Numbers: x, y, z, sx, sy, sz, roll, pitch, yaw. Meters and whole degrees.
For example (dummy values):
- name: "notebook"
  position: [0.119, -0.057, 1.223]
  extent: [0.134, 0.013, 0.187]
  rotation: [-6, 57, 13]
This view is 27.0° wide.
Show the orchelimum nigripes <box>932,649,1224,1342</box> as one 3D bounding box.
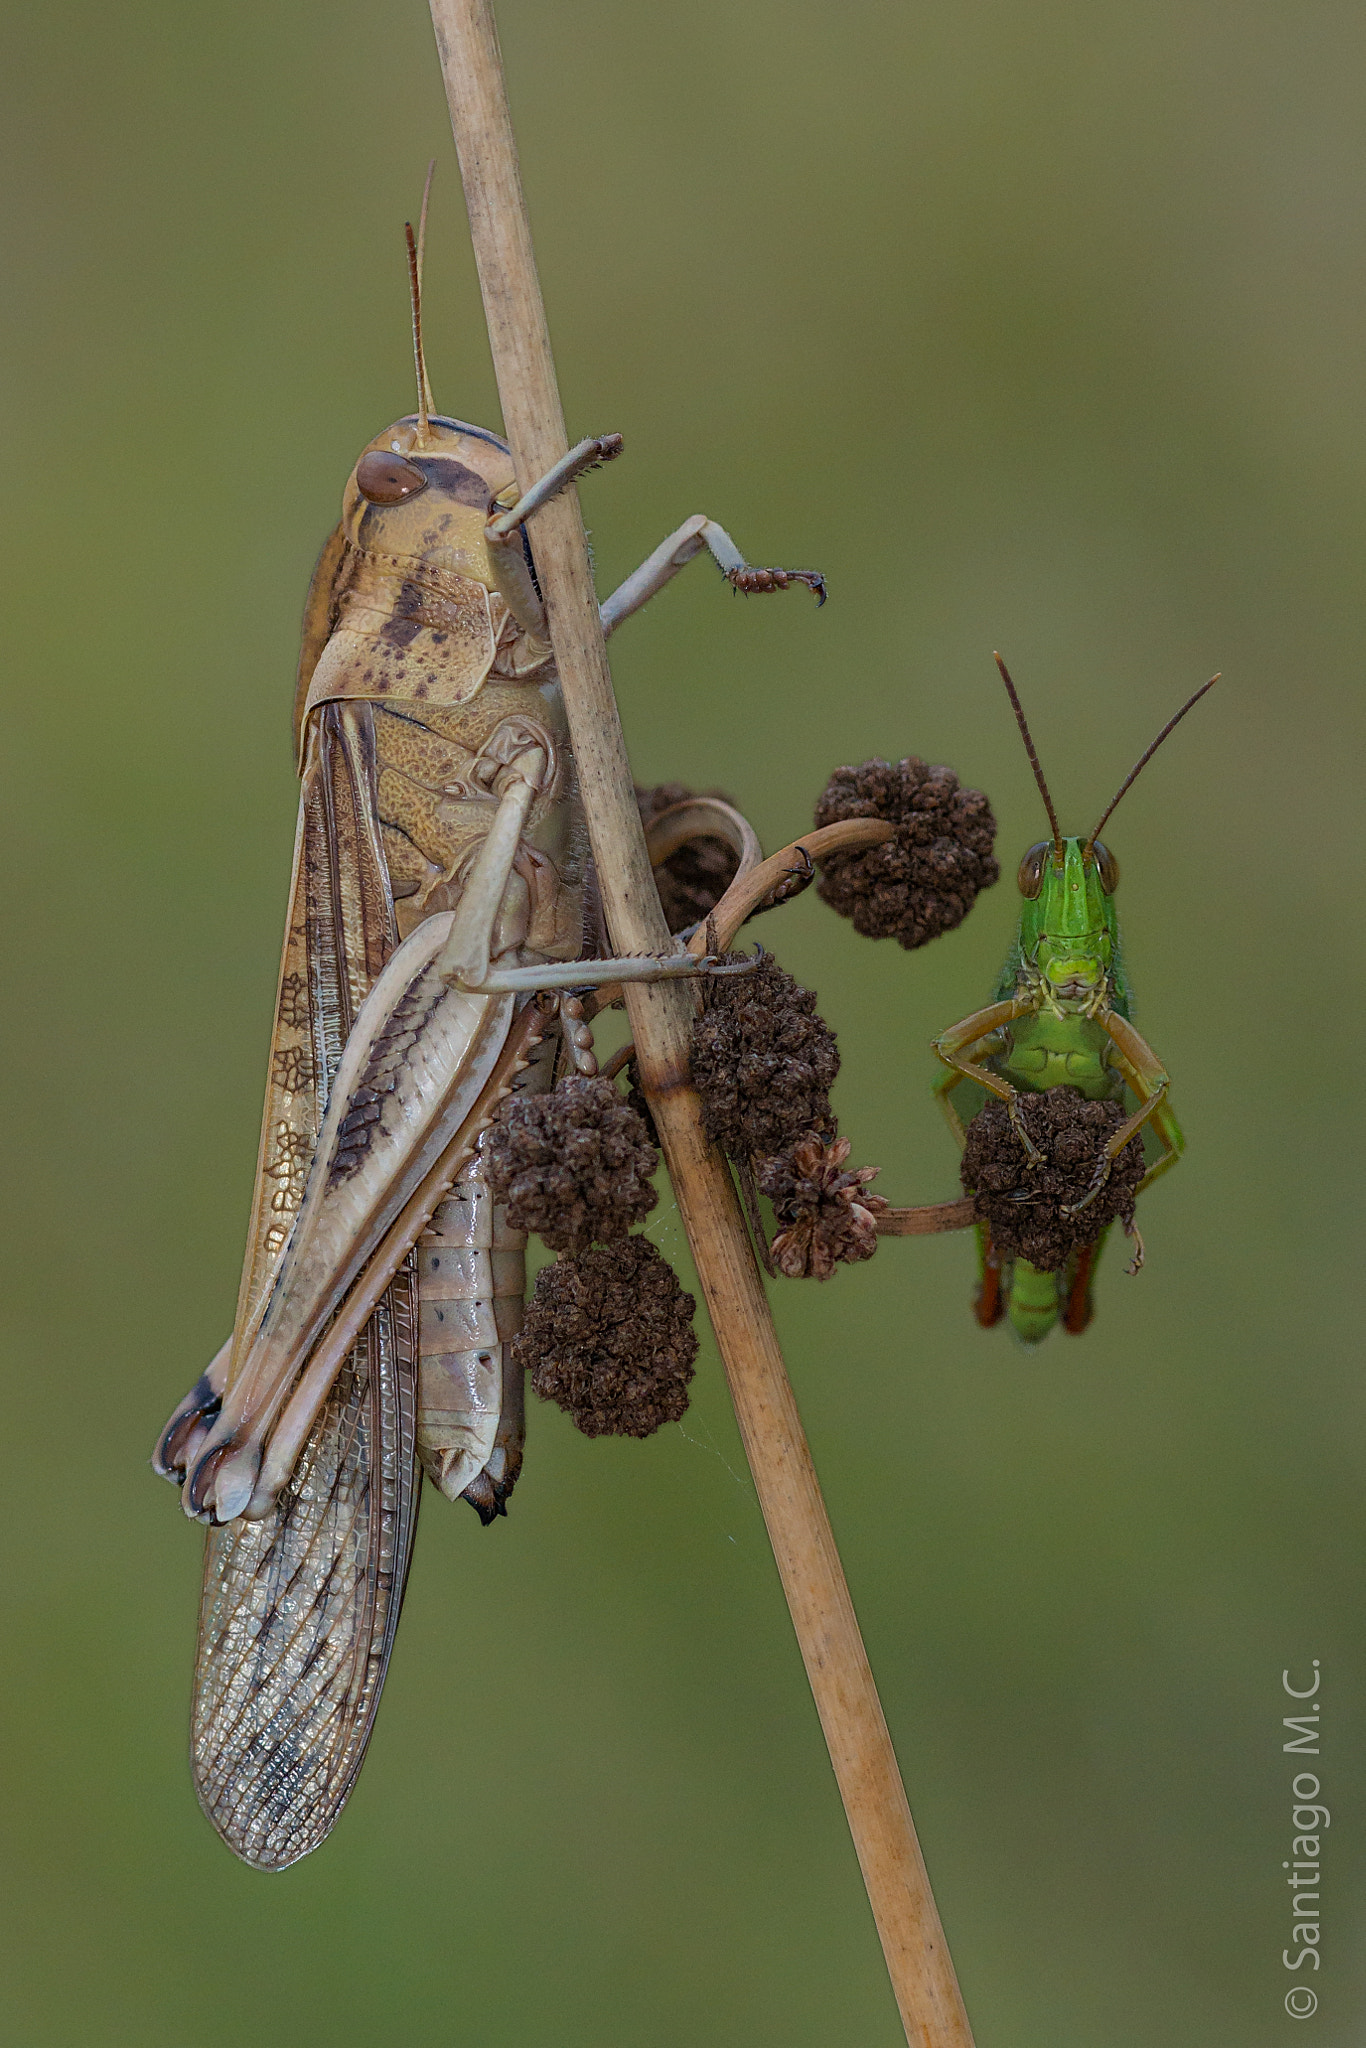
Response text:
- name: "orchelimum nigripes"
  position: [0.450, -0.017, 3.735]
  extent: [0.396, 1.179, 0.367]
  rotation: [-4, 11, -10]

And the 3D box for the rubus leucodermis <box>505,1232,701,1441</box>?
- name: "rubus leucodermis"
  position: [-0.096, 0.396, 3.552]
  extent: [0.217, 0.218, 0.094]
  rotation: [-9, 3, -5]
